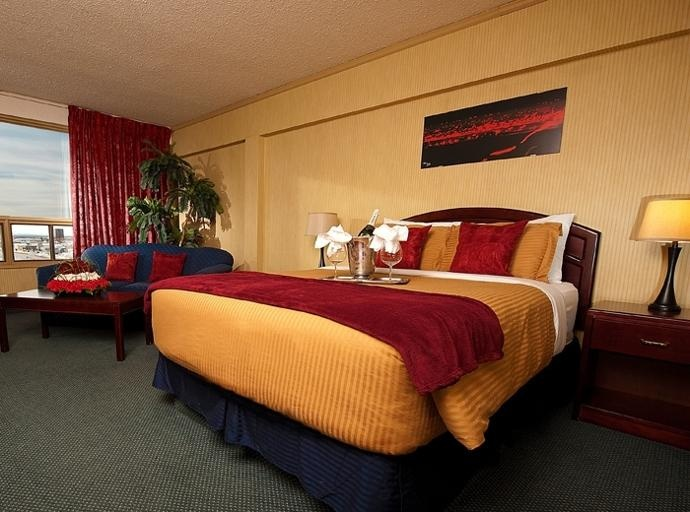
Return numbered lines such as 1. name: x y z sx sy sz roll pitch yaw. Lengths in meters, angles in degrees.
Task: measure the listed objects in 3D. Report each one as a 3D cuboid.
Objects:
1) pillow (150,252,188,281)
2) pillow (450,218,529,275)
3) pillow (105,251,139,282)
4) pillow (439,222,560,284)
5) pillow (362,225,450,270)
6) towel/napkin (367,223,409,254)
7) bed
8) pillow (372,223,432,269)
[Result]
1. pillow: -2.242 0.155 5.431 0.499 0.379 0.132 3 -18 1
2. pillow: 1.193 -0.075 3.565 0.167 0.476 0.554 33 -20 -35
3. pillow: -2.809 0.143 5.380 0.439 0.372 0.149 -2 -12 -1
4. pillow: 1.328 -0.057 3.550 0.825 0.441 0.420 4 15 22
5. pillow: 0.728 -0.079 3.887 0.554 0.450 0.156 4 -23 29
6. towel/napkin: 0.289 -0.118 3.019 0.259 0.212 0.164 3 15 17
7. bed: 0.778 0.198 3.160 2.203 1.139 2.601 3 6 39
8. pillow: 0.527 -0.120 3.862 0.474 0.397 0.142 9 -15 45
